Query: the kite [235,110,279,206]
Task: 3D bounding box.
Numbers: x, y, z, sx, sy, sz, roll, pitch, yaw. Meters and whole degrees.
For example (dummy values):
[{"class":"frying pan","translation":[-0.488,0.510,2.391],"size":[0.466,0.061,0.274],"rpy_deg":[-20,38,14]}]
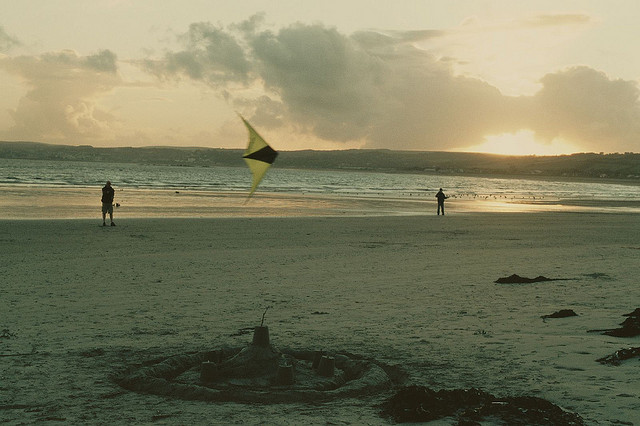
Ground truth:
[{"class":"kite","translation":[-1.226,-1.118,14.487],"size":[0.864,2.064,0.098],"rpy_deg":[-9,34,-10]}]
